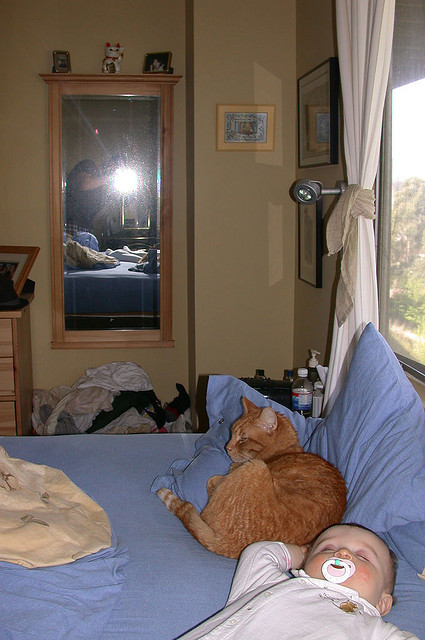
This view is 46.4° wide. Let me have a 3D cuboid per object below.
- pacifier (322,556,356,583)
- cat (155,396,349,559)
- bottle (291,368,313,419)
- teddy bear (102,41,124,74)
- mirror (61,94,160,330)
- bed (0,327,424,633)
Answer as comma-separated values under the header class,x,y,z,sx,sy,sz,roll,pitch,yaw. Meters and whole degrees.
class,x,y,z,sx,sy,sz,roll,pitch,yaw
pacifier,0.209,0.416,0.821,0.052,0.042,0.034,13,3,22
cat,0.107,0.396,1.259,0.376,0.190,0.505,-11,16,-20
bottle,0.347,0.302,1.925,0.086,0.222,0.085,1,1,0
teddy bear,-0.622,-1.667,3.158,0.128,0.174,0.167,10,3,-18
mirror,-0.697,-0.697,3.438,0.813,1.976,0.079,-4,31,-17
bed,0.015,0.411,1.177,0.870,0.302,0.697,1,21,-1
